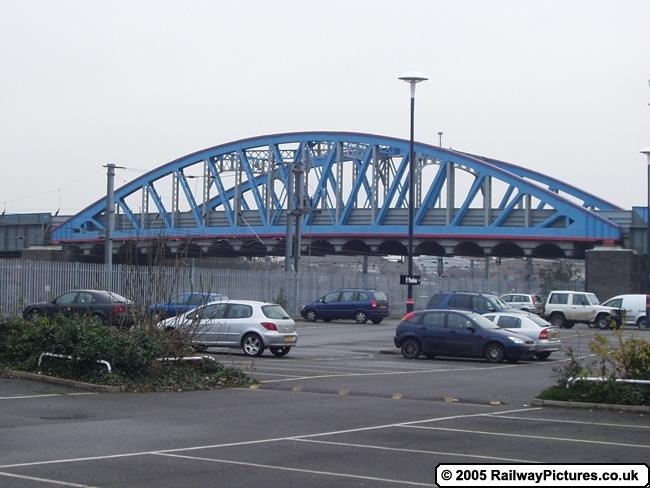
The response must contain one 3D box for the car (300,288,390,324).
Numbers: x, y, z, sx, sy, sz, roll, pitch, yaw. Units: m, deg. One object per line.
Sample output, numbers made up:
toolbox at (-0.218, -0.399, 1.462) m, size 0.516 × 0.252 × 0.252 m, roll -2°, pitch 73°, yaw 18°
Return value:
car at (1.067, 2.891, 49.102) m, size 3.264 × 1.286 × 1.772 m, roll 3°, pitch 0°, yaw 20°
